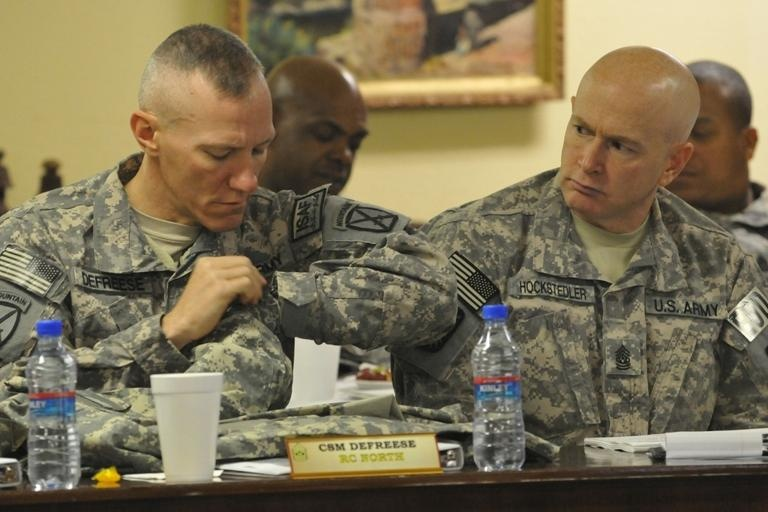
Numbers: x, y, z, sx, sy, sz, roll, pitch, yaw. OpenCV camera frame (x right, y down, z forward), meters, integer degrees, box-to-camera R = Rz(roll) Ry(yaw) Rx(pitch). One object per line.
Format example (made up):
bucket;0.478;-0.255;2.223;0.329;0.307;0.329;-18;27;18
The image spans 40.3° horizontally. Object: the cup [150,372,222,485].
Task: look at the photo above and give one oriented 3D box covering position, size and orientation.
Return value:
cup;-0.417;0.361;2.201;0.144;0.226;0.067;0;-4;-11
